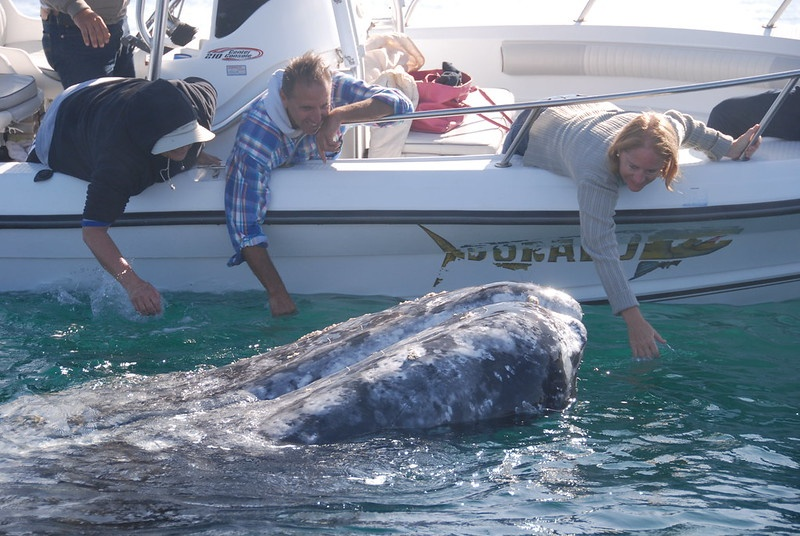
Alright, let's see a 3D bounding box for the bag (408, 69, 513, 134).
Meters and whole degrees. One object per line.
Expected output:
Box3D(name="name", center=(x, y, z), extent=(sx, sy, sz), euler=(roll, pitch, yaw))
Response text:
Box3D(name="bag", center=(0.372, -1.358, 6.778), extent=(1.086, 0.285, 0.713), euler=(6, 23, 8))
